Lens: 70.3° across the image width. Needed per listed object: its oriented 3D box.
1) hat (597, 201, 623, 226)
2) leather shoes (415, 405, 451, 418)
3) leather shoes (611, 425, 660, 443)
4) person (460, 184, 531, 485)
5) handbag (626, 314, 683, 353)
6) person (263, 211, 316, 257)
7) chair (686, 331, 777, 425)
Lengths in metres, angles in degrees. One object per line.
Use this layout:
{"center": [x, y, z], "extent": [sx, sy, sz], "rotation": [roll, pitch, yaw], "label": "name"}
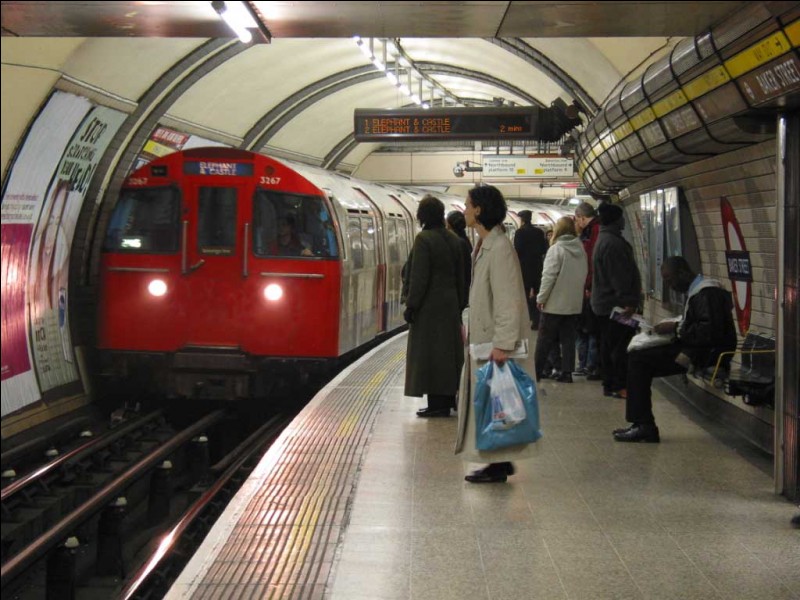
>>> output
{"center": [2.701, -1.103, 7.379], "extent": [0.355, 0.244, 0.255], "rotation": [-2, 2, -38], "label": "hat"}
{"center": [0.380, 1.310, 6.703], "extent": [0.404, 0.151, 0.139], "rotation": [4, -2, 9], "label": "leather shoes"}
{"center": [2.388, 1.348, 5.793], "extent": [0.341, 0.112, 0.219], "rotation": [1, -1, 9], "label": "leather shoes"}
{"center": [0.744, 0.185, 4.488], "extent": [0.569, 2.203, 0.476], "rotation": [0, 2, 23], "label": "person"}
{"center": [2.506, 0.362, 5.689], "extent": [0.520, 0.145, 0.376], "rotation": [-12, 12, 26], "label": "handbag"}
{"center": [-1.720, -0.952, 8.739], "extent": [0.793, 0.669, 0.176], "rotation": [2, -4, -2], "label": "person"}
{"center": [3.298, 0.760, 5.634], "extent": [0.578, 0.455, 1.226], "rotation": [0, -2, 8], "label": "chair"}
